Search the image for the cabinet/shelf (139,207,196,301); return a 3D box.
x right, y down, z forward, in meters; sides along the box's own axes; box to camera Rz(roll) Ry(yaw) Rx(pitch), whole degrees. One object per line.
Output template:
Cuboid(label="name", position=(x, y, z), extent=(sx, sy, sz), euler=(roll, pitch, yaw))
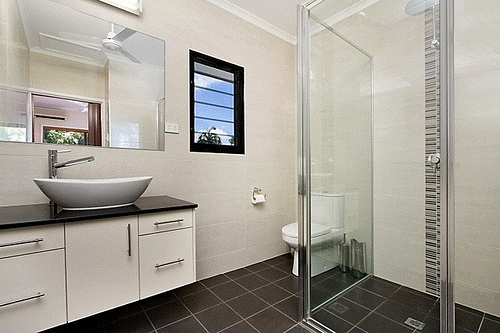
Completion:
Cuboid(label="cabinet/shelf", position=(-0.805, 0.675, 2.823), extent=(0.557, 0.670, 0.588), euler=(1, 3, 37))

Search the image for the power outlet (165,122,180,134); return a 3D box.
Cuboid(label="power outlet", position=(-0.771, -0.376, 3.198), extent=(0.122, 0.082, 0.016), euler=(-1, 5, -31))

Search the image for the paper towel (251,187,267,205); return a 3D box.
Cuboid(label="paper towel", position=(0.096, 0.339, 3.767), extent=(0.225, 0.226, 0.121), euler=(1, -2, -28))

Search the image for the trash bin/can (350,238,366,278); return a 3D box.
Cuboid(label="trash bin/can", position=(0.877, 0.718, 2.584), extent=(0.133, 0.287, 0.090), euler=(-10, -15, 40))

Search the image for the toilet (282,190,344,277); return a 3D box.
Cuboid(label="toilet", position=(0.522, 0.558, 2.755), extent=(0.573, 0.640, 0.368), euler=(-6, 8, -39))
